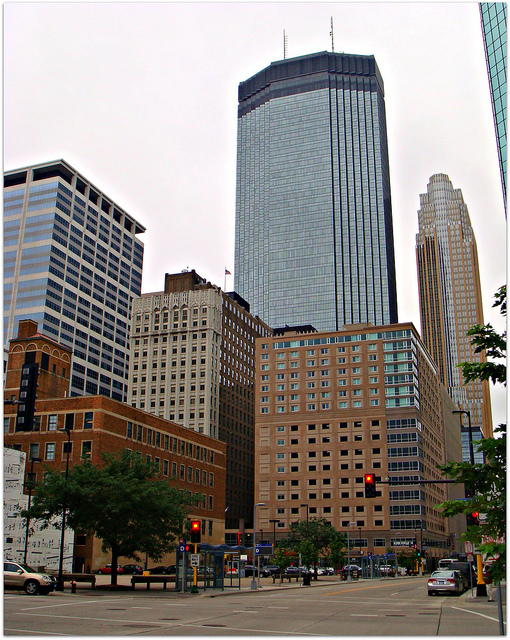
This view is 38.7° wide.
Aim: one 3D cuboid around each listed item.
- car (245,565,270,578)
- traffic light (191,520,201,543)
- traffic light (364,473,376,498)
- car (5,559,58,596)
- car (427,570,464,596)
[{"bbox_3d":[0.020,30.802,89.126,2.702,1.510,9.672,-3,-16,8],"label":"car"},{"bbox_3d":[-3.062,10.777,36.985,0.402,1.048,1.059,3,-16,-10],"label":"traffic light"},{"bbox_3d":[6.096,8.741,38.530,0.467,1.197,1.355,-1,-16,4],"label":"traffic light"},{"bbox_3d":[-10.575,12.258,34.332,2.938,1.376,1.385,0,-10,5],"label":"car"},{"bbox_3d":[11.151,15.437,42.609,1.744,1.327,3.153,-5,-17,17],"label":"car"}]
